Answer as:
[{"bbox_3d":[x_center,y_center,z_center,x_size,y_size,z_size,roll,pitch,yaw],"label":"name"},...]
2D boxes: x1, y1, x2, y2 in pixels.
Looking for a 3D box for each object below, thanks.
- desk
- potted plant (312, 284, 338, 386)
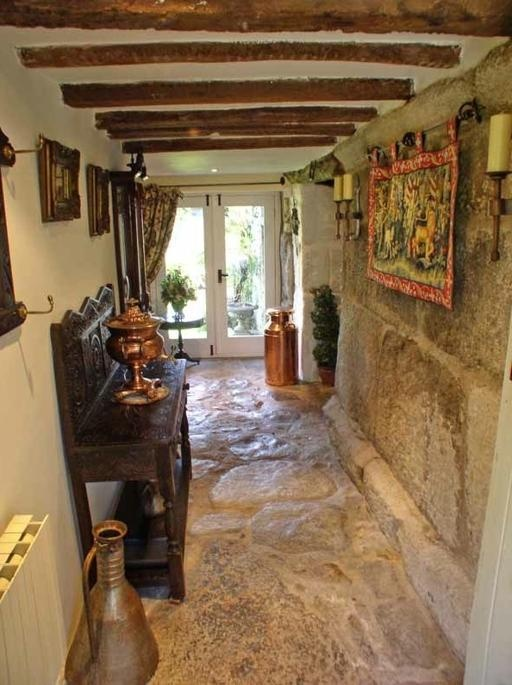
[{"bbox_3d":[-0.586,0.455,2.059,0.364,1.104,1.104,-4,20,-7],"label":"desk"},{"bbox_3d":[0.721,-0.064,4.988,0.282,1.062,0.478,-1,9,7],"label":"potted plant"}]
